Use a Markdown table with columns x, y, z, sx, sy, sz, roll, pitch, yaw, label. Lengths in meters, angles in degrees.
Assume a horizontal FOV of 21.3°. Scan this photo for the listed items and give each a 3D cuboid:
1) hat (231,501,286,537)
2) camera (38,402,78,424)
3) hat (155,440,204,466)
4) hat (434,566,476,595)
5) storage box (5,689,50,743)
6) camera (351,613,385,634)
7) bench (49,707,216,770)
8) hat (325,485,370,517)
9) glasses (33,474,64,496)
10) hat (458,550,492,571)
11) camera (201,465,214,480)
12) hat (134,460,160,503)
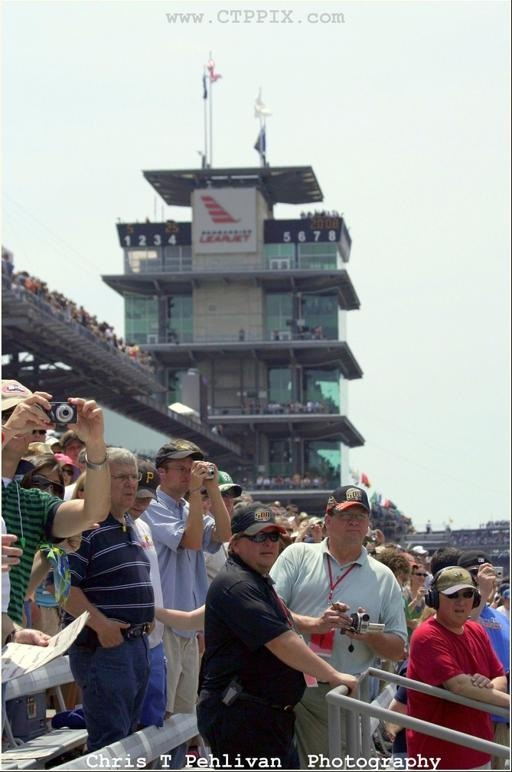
| x | y | z | sx | sy | sz | roll | pitch | yaw | label |
| --- | --- | --- | --- | --- | --- | --- | --- | --- | --- |
| 0.013 | 0.706 | 7.186 | 0.291 | 0.188 | 0.275 | 2 | -8 | 0 | hat |
| -0.993 | 0.139 | 7.000 | 0.150 | 0.113 | 0.101 | 1 | -2 | -12 | camera |
| -0.521 | 0.456 | 9.345 | 0.319 | 0.210 | 0.359 | 3 | -8 | -5 | hat |
| 1.134 | 1.120 | 7.828 | 0.243 | 0.158 | 0.246 | 1 | -8 | 9 | hat |
| -1.384 | 2.024 | 8.481 | 0.202 | 0.377 | 0.389 | -6 | -7 | 12 | storage box |
| 0.613 | 1.329 | 7.609 | 0.126 | 0.071 | 0.131 | 11 | 2 | 0 | camera |
| -0.680 | 1.984 | 7.484 | 0.351 | 0.239 | 1.428 | 1 | -8 | 14 | bench |
| 0.555 | 0.681 | 8.232 | 0.259 | 0.184 | 0.309 | 2 | -8 | 3 | hat |
| -1.233 | 0.587 | 8.106 | 0.144 | 0.048 | 0.151 | 2 | -19 | 29 | glasses |
| 1.497 | 1.210 | 9.510 | 0.145 | 0.095 | 0.160 | 5 | -11 | -23 | hat |
| -0.327 | 0.591 | 9.357 | 0.081 | 0.097 | 0.123 | 7 | -3 | -18 | camera |
| -0.696 | 0.596 | 8.693 | 0.144 | 0.128 | 0.208 | 13 | 3 | -30 | hat |
